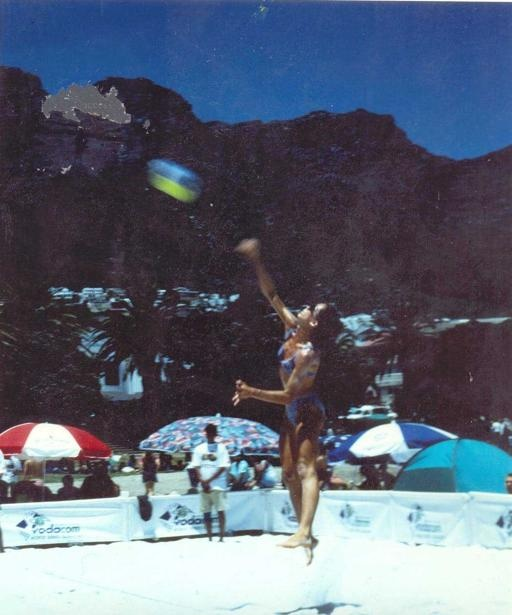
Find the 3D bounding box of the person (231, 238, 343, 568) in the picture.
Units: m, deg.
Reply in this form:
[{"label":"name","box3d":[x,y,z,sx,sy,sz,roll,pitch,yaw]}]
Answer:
[{"label":"person","box3d":[0.163,0.520,6.361,0.694,1.936,1.248,1,2,4]}]
